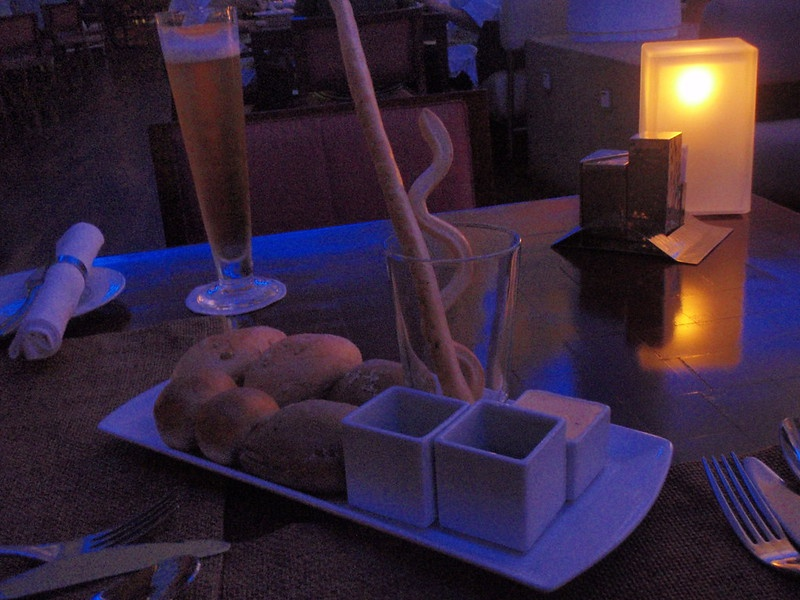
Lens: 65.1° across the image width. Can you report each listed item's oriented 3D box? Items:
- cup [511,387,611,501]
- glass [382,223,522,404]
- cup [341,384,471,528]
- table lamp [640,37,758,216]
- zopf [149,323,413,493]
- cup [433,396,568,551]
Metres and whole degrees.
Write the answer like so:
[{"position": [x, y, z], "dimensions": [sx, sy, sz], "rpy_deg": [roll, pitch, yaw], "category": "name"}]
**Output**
[{"position": [0.116, 0.087, 0.425], "dimensions": [0.064, 0.049, 0.065], "rpy_deg": [-8, 20, 3], "category": "cup"}, {"position": [0.082, -0.004, 0.553], "dimensions": [0.127, 0.189, 0.128], "rpy_deg": [1, 20, 16], "category": "glass"}, {"position": [0.000, 0.107, 0.463], "dimensions": [0.083, 0.075, 0.085], "rpy_deg": [-2, 20, 1], "category": "cup"}, {"position": [0.447, -0.251, 0.926], "dimensions": [0.177, 0.243, 0.207], "rpy_deg": [4, 26, 17], "category": "table lamp"}, {"position": [-0.104, 0.062, 0.476], "dimensions": [0.140, 0.052, 0.134], "rpy_deg": [12, 27, 23], "category": "zopf"}, {"position": [0.062, 0.111, 0.430], "dimensions": [0.085, 0.074, 0.082], "rpy_deg": [-5, 22, 2], "category": "cup"}]
